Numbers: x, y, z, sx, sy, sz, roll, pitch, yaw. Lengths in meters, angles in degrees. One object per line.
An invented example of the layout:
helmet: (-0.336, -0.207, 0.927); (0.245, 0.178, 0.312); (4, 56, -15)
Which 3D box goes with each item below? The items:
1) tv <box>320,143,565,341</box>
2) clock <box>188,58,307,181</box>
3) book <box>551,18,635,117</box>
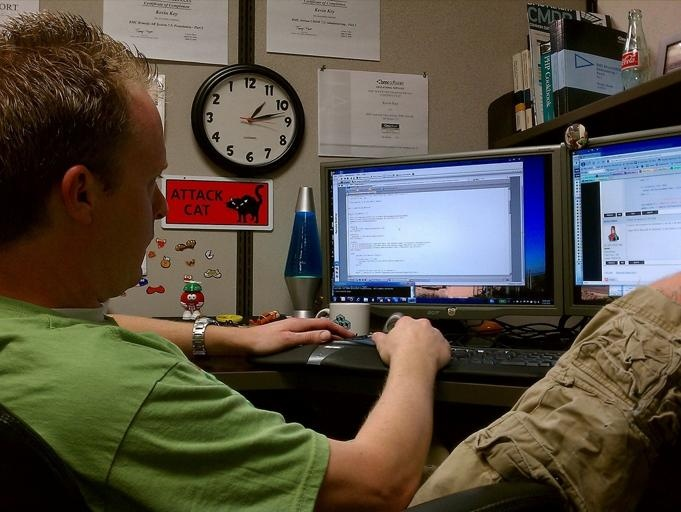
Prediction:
tv: (0.230, -0.031, 1.369); (0.449, 0.315, 0.119); (-2, -6, 15)
clock: (-0.268, -0.368, 1.608); (0.338, 0.338, 0.037); (0, -3, -13)
book: (0.589, -0.439, 1.420); (0.260, 0.247, 0.045); (-6, 8, -24)
